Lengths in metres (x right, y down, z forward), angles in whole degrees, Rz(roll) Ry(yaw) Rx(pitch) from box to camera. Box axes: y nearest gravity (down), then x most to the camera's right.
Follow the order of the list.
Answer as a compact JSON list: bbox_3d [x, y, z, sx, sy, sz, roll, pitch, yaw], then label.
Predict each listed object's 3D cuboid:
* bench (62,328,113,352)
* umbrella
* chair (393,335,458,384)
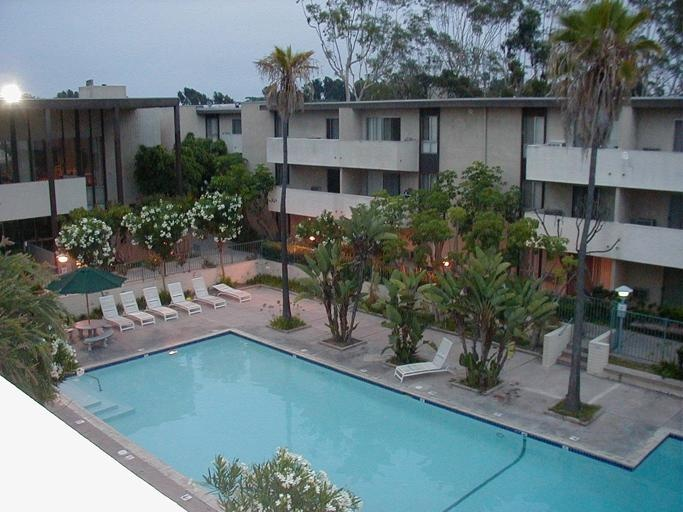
[{"bbox_3d":[-9.863,3.220,21.057,1.819,0.663,1.702,4,1,-13],"label":"bench"},{"bbox_3d":[-10.035,1.525,20.728,2.393,2.183,2.591,5,2,35],"label":"umbrella"},{"bbox_3d":[2.862,3.768,18.305,2.485,1.866,0.946,-9,16,-20],"label":"chair"}]
